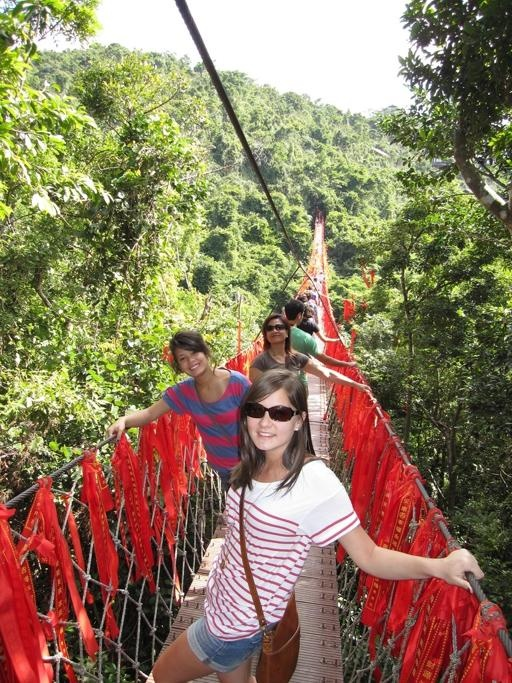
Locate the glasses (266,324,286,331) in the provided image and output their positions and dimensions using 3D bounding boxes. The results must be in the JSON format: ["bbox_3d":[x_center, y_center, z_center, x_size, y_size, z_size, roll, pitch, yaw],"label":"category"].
[{"bbox_3d":[0.075,-0.053,2.144,0.070,0.023,0.039,-2,0,1],"label":"glasses"}]
